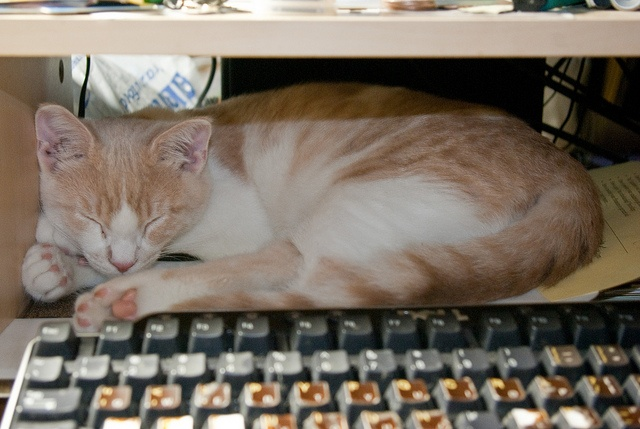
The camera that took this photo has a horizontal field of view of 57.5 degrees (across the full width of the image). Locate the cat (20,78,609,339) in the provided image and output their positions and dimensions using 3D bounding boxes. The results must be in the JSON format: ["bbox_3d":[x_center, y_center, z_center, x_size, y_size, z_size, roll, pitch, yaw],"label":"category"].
[{"bbox_3d":[-0.024,-0.006,1.012,0.668,0.215,0.492,-2,9,-5],"label":"cat"}]
